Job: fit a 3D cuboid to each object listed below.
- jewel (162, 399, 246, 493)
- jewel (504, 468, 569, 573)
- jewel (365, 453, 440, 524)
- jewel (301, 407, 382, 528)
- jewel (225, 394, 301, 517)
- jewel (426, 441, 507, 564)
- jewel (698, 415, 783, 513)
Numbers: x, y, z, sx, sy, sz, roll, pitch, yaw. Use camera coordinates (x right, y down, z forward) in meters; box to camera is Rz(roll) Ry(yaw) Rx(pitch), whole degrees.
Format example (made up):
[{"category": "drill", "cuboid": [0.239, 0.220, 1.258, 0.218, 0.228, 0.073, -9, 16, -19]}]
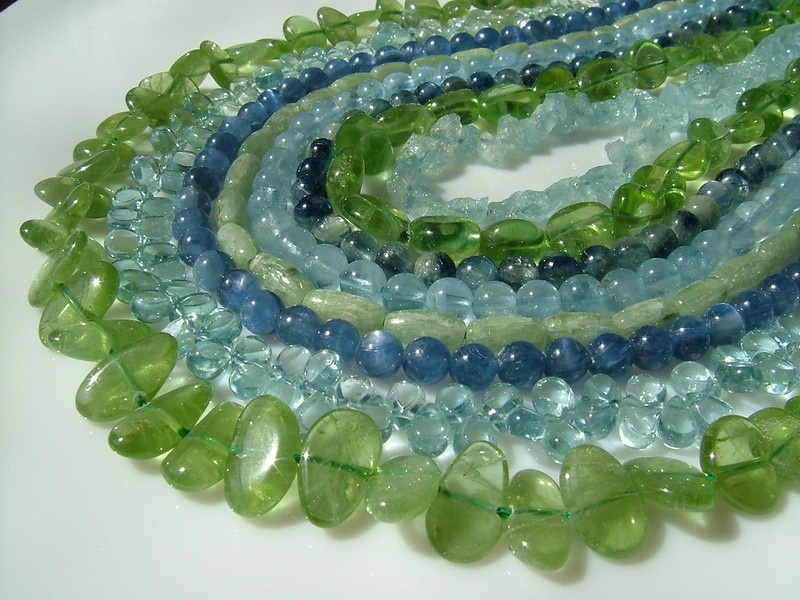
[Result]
[{"category": "jewel", "cuboid": [-0.320, 0.267, 1.382, 0.086, 0.155, 0.048, 25, -94, -6]}, {"category": "jewel", "cuboid": [0.209, 0.331, 1.287, 0.097, 0.121, 0.087, -6, -56, 11]}, {"category": "jewel", "cuboid": [-0.002, 0.306, 1.318, 0.108, 0.069, 0.084, -3, -16, -4]}, {"category": "jewel", "cuboid": [-0.093, 0.255, 1.309, 0.120, 0.139, 0.113, 14, -55, -2]}, {"category": "jewel", "cuboid": [-0.207, 0.242, 1.319, 0.108, 0.141, 0.112, 16, -55, -4]}, {"category": "jewel", "cuboid": [0.101, 0.305, 1.288, 0.114, 0.135, 0.096, 1, -55, 7]}, {"category": "jewel", "cuboid": [0.530, 0.256, 1.324, 0.125, 0.108, 0.087, 26, -56, -11]}]
